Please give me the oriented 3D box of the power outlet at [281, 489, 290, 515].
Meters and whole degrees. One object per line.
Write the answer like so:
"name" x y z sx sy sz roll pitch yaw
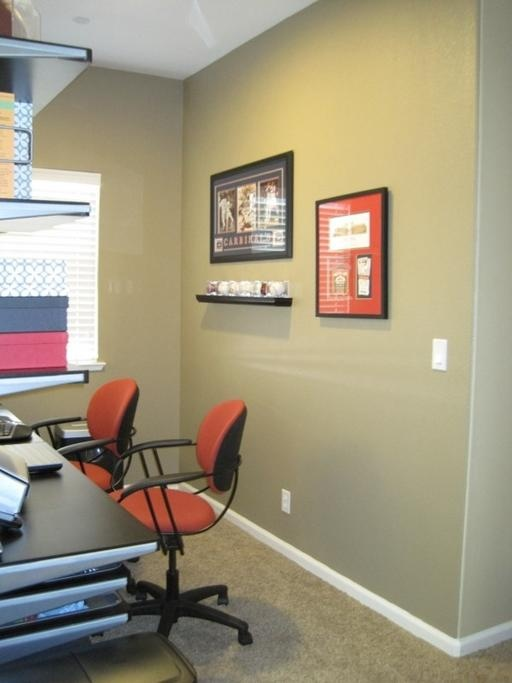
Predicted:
"power outlet" 0.163 0.878 2.820 0.009 0.136 0.086 -1 2 -30

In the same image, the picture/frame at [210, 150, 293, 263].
"picture/frame" -0.008 -0.783 2.969 0.035 0.579 0.749 0 1 -32

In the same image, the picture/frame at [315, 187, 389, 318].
"picture/frame" 0.435 -0.398 2.268 0.030 0.792 0.561 -3 4 -30

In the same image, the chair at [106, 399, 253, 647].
"chair" -0.368 0.758 2.184 0.547 0.960 0.607 -1 4 -29
